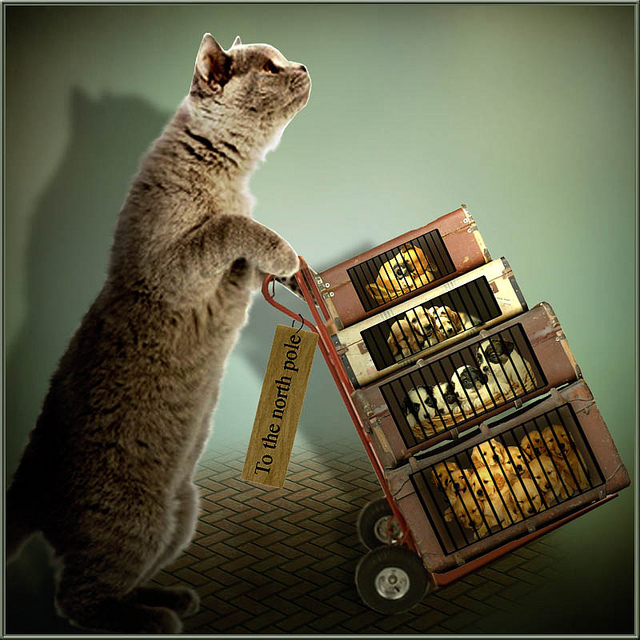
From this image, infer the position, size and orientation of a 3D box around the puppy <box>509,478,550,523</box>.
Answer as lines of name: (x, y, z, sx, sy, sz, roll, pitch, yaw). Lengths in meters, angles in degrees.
puppy: (0.846, 0.736, 3.765, 0.173, 0.168, 0.113, -15, 3, -8)

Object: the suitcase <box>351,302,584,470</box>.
suitcase: (0.446, 0.317, 4.005, 1.327, 0.329, 0.623, -17, 3, -35)

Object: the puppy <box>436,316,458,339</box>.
puppy: (0.527, 0.034, 3.795, 0.075, 0.087, 0.041, -33, 5, 8)

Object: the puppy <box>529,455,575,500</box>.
puppy: (0.951, 0.661, 3.733, 0.138, 0.197, 0.059, -30, -2, 13)

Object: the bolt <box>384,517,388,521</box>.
bolt: (0.305, 0.927, 4.218, 0.021, 0.014, 0.005, 1, 0, 2)

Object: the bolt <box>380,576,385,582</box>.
bolt: (0.266, 1.102, 3.857, 0.017, 0.015, 0.011, -11, -7, -13)
